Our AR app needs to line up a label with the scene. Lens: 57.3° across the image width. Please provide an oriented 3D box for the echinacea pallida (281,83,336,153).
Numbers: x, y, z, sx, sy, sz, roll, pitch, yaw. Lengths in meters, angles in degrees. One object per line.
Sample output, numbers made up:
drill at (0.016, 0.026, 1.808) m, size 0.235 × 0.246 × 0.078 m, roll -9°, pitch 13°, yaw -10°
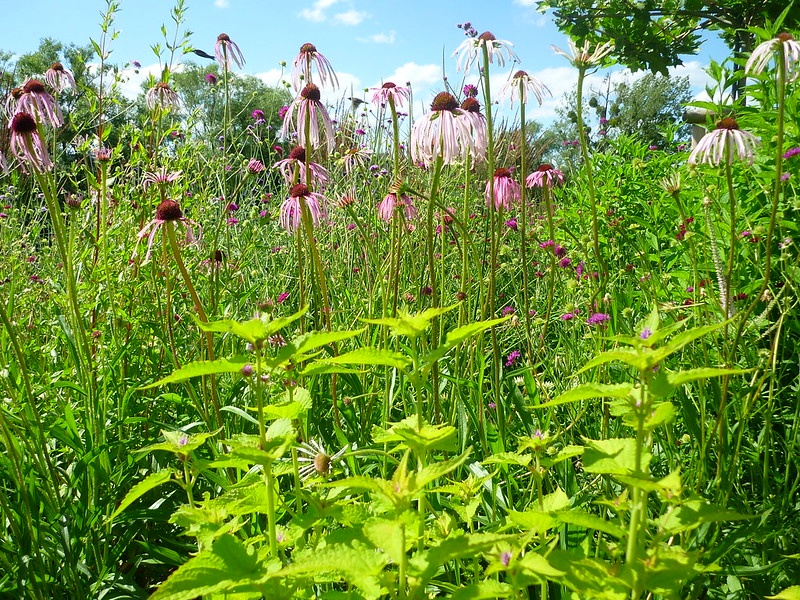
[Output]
echinacea pallida at (-0.377, -0.699, 2.984) m, size 0.199 × 0.332 × 0.186 m, roll 6°, pitch 7°, yaw 41°

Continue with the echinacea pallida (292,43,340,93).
echinacea pallida at (-0.383, -0.995, 3.120) m, size 0.136 × 0.185 × 0.150 m, roll -2°, pitch 35°, yaw 1°

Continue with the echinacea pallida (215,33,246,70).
echinacea pallida at (-0.826, -1.166, 3.455) m, size 0.083 × 0.173 × 0.106 m, roll -15°, pitch -30°, yaw -3°

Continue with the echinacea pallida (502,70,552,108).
echinacea pallida at (0.480, -0.827, 2.854) m, size 0.165 × 0.134 × 0.347 m, roll 0°, pitch 13°, yaw 8°

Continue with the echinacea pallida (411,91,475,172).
echinacea pallida at (0.180, -0.661, 2.770) m, size 0.239 × 0.255 × 0.258 m, roll 10°, pitch 14°, yaw 25°
